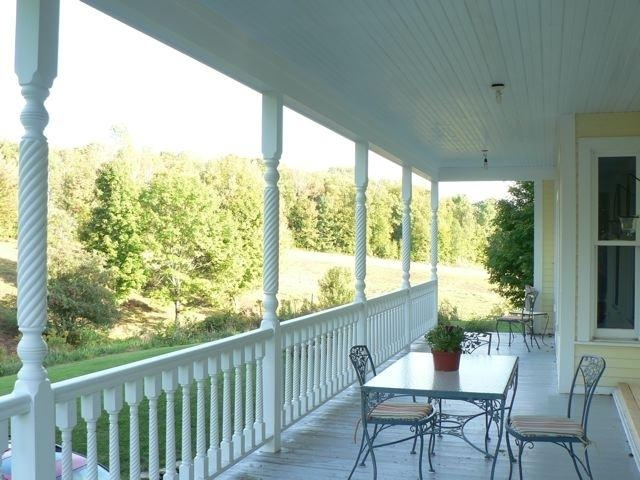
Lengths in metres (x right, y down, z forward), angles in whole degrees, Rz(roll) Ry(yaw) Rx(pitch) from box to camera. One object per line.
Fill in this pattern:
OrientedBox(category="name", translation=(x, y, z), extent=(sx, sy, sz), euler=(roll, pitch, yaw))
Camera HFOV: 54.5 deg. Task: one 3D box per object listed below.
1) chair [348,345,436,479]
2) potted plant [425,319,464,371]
OrientedBox(category="chair", translation=(0.666, 1.436, 5.326), extent=(0.902, 1.383, 0.821), euler=(-3, -8, 17))
OrientedBox(category="potted plant", translation=(1.020, 0.881, 5.224), extent=(0.312, 0.410, 0.342), euler=(-1, -5, 3))
